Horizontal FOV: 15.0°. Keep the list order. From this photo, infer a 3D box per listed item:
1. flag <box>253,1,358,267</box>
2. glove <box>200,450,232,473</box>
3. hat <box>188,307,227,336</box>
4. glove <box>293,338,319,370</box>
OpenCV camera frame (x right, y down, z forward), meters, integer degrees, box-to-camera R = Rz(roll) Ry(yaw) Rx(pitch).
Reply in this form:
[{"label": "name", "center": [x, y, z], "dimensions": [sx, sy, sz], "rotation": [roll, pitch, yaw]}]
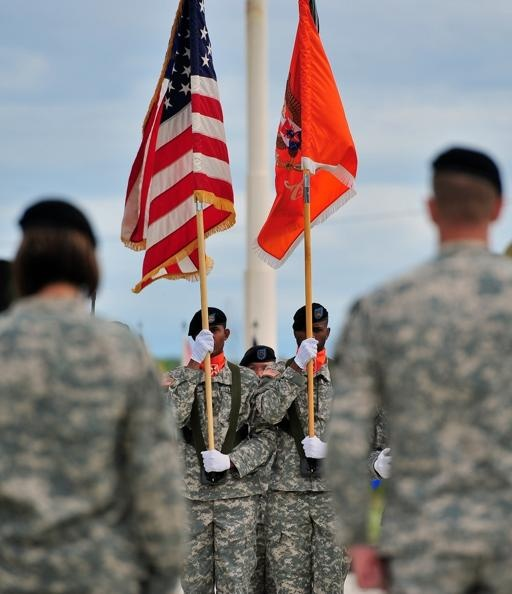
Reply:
[{"label": "flag", "center": [0.269, -0.892, 10.262], "dimensions": [0.418, 1.408, 0.801], "rotation": [1, -3, -7]}, {"label": "glove", "center": [-0.202, 0.817, 9.684], "dimensions": [0.122, 0.107, 0.053], "rotation": [13, -19, -38]}, {"label": "hat", "center": [-0.234, 0.129, 9.695], "dimensions": [0.135, 0.086, 0.209], "rotation": [-2, -19, -1]}, {"label": "glove", "center": [0.238, 0.313, 9.805], "dimensions": [0.054, 0.171, 0.122], "rotation": [25, 11, -16]}]
